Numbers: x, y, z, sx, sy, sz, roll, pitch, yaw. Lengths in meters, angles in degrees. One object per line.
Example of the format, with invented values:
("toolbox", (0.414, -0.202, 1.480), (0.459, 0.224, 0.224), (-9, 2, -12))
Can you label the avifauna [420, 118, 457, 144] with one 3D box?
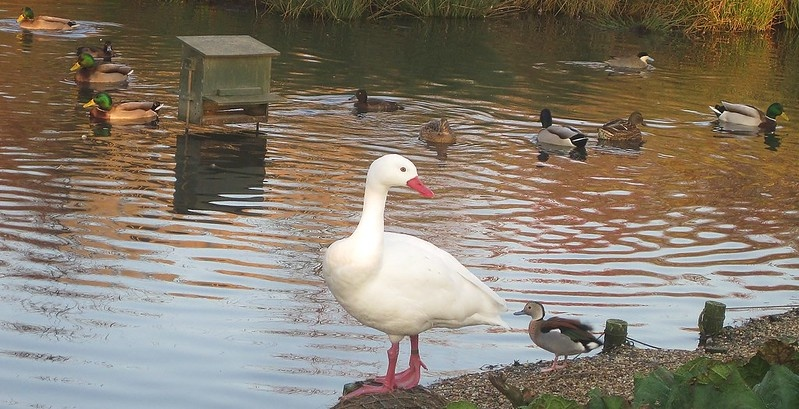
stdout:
("avifauna", (1.163, -2.310, 32.026), (0.949, 0.810, 0.605), (13, 16, 28))
